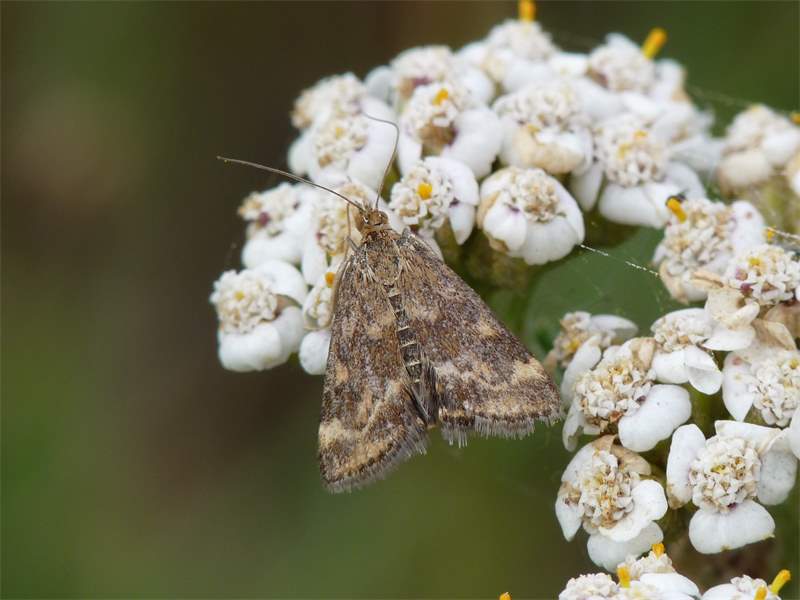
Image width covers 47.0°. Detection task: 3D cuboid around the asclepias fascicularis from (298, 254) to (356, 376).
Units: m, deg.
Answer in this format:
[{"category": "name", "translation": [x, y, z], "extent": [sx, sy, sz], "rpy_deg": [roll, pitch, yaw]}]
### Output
[{"category": "asclepias fascicularis", "translation": [-0.204, 0.042, 2.396], "extent": [0.053, 0.260, 0.195], "rpy_deg": [4, 2, -37]}]

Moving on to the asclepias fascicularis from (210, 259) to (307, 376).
[{"category": "asclepias fascicularis", "translation": [-0.365, 0.040, 2.462], "extent": [0.230, 0.148, 0.275], "rpy_deg": [-27, 57, 13]}]
